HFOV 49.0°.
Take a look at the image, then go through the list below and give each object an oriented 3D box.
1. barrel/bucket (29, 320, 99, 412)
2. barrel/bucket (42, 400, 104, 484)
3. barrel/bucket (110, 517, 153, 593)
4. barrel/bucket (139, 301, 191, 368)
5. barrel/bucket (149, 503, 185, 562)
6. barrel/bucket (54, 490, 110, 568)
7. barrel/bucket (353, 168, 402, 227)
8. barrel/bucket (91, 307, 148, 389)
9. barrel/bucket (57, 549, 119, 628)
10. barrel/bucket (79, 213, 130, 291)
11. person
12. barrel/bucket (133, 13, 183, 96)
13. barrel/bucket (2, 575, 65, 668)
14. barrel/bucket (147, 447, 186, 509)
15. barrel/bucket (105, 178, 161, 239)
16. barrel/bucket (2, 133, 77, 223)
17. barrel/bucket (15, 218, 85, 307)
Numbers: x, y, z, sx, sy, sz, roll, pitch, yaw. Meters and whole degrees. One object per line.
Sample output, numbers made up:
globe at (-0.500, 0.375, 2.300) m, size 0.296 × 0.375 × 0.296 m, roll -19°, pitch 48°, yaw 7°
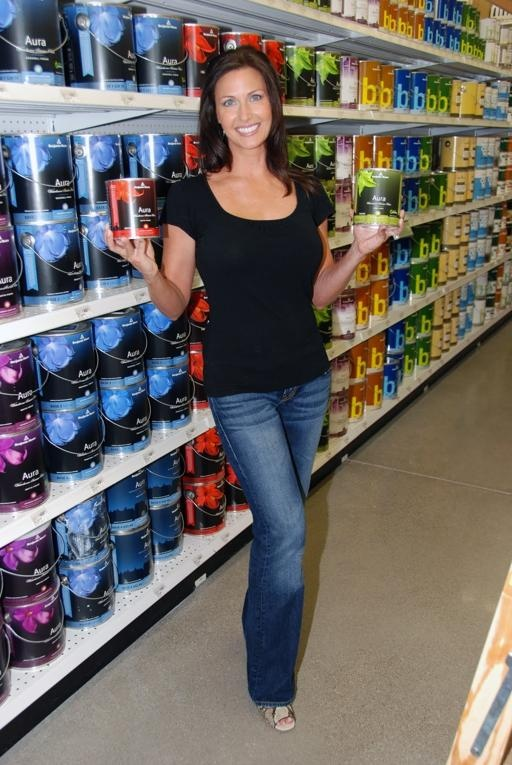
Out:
barrel/bucket at (-0.473, -0.040, 1.394) m, size 0.156 × 0.179 × 0.158 m, roll -2°, pitch 15°, yaw 1°
barrel/bucket at (-0.474, 0.149, 1.457) m, size 0.160 × 0.184 × 0.167 m, roll -1°, pitch 9°, yaw 0°
barrel/bucket at (-0.402, 0.533, 1.764) m, size 0.151 × 0.178 × 0.156 m, roll -3°, pitch 1°, yaw 0°
barrel/bucket at (-0.284, -0.154, 1.741) m, size 0.175 × 0.194 × 0.187 m, roll 3°, pitch 26°, yaw -2°
barrel/bucket at (-0.298, 0.532, 1.939) m, size 0.134 × 0.158 × 0.142 m, roll 0°, pitch -8°, yaw 0°
barrel/bucket at (-0.446, 0.375, 1.500) m, size 0.143 × 0.166 × 0.149 m, roll -2°, pitch 9°, yaw 0°
barrel/bucket at (0.262, -0.395, 1.220) m, size 0.103 × 0.118 × 0.105 m, roll 2°, pitch 13°, yaw 0°
barrel/bucket at (-0.387, -0.092, 1.548) m, size 0.168 × 0.183 × 0.159 m, roll -2°, pitch 14°, yaw 0°
barrel/bucket at (-0.483, 0.574, 1.596) m, size 0.164 × 0.180 × 0.167 m, roll -3°, pitch 5°, yaw 0°
barrel/bucket at (-0.390, -0.340, 1.454) m, size 0.119 × 0.212 × 0.125 m, roll -7°, pitch 4°, yaw 1°
person at (-0.009, 0.055, 1.366) m, size 0.367 × 1.595 × 0.470 m, roll 2°, pitch 15°, yaw 10°
barrel/bucket at (-0.254, -0.846, 1.485) m, size 0.157 × 0.186 × 0.166 m, roll 0°, pitch 27°, yaw 0°
barrel/bucket at (-0.517, 0.577, 1.419) m, size 0.160 × 0.171 × 0.170 m, roll -2°, pitch 10°, yaw 0°
barrel/bucket at (-0.279, 0.313, 1.869) m, size 0.162 × 0.172 × 0.161 m, roll -8°, pitch -12°, yaw -2°
barrel/bucket at (-0.238, -0.330, 1.088) m, size 0.094 × 0.110 × 0.096 m, roll -3°, pitch 12°, yaw 1°
barrel/bucket at (-0.438, -0.443, 1.204) m, size 0.146 × 0.158 × 0.159 m, roll 0°, pitch 26°, yaw 0°
barrel/bucket at (-0.474, -0.287, 1.299) m, size 0.160 × 0.191 × 0.170 m, roll -1°, pitch 15°, yaw 0°
